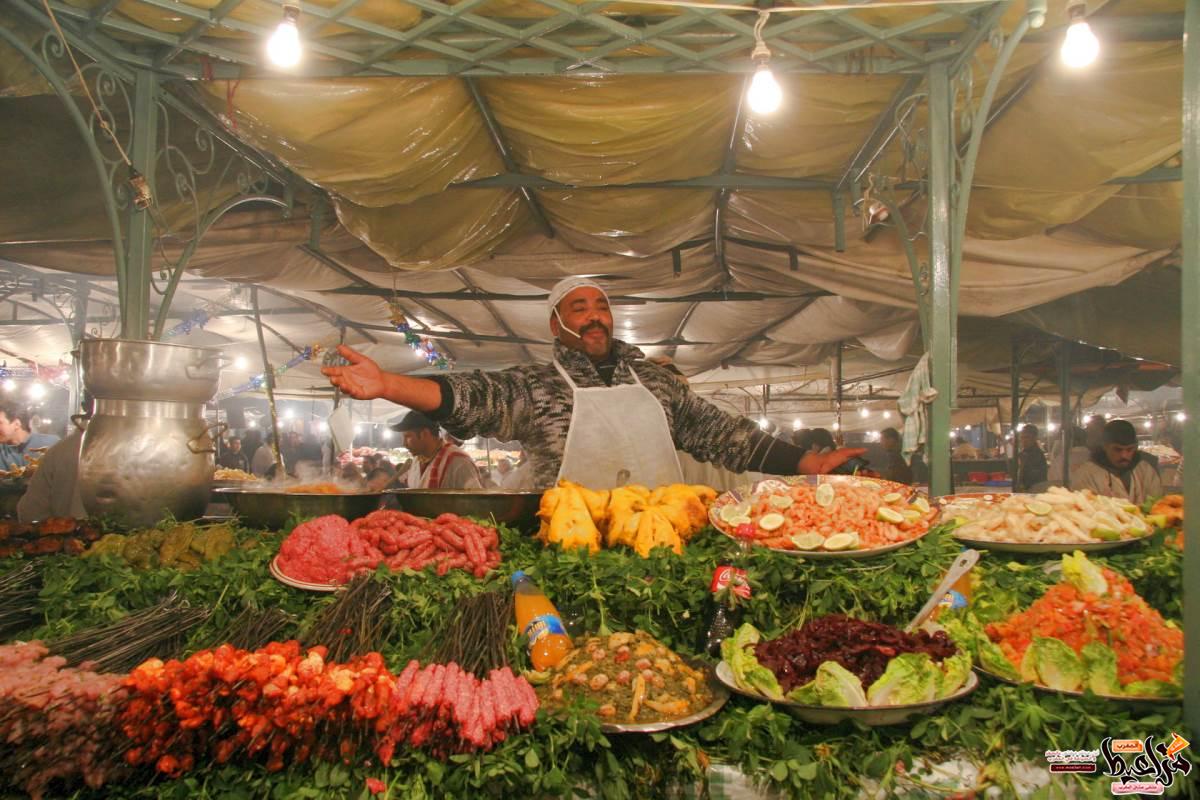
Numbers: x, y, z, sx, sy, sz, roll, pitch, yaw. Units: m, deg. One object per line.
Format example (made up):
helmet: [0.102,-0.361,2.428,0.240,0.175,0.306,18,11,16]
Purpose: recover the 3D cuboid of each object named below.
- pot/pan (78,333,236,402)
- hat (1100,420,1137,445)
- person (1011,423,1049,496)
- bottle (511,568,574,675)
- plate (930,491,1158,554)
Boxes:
pot/pan: [-2.809,-0.192,5.185,0.832,0.223,0.459,1,-14,-2]
hat: [6.070,0.371,9.660,0.309,0.281,0.420,-1,-4,27]
person: [6.556,0.856,12.568,0.449,1.067,3.059,0,-4,27]
bottle: [-0.304,1.149,4.379,0.272,0.461,0.421,2,-4,-14]
plate: [2.614,0.685,4.770,1.196,0.357,0.432,2,-4,-9]
